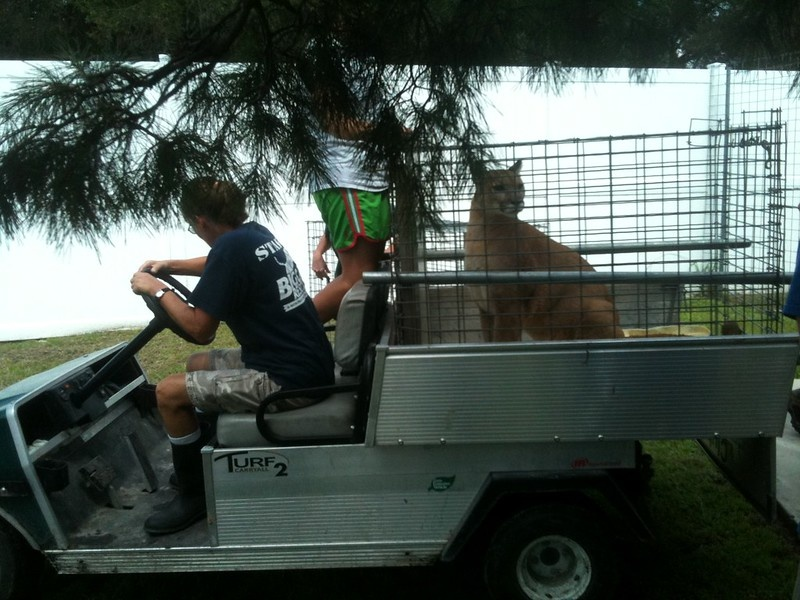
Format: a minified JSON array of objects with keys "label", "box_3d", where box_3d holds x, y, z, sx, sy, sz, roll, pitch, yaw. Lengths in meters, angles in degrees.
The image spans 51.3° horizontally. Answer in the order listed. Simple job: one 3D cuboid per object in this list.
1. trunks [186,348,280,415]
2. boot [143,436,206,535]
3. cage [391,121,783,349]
[{"label":"trunks","box_3d":[-0.939,0.473,4.526,0.368,0.156,0.429,2,-10,4]},{"label":"boot","box_3d":[-1.177,1.046,4.804,0.512,0.631,0.275,-2,-2,-11]},{"label":"cage","box_3d":[1.056,-0.348,4.573,1.246,0.916,0.754,-2,-2,-3]}]
